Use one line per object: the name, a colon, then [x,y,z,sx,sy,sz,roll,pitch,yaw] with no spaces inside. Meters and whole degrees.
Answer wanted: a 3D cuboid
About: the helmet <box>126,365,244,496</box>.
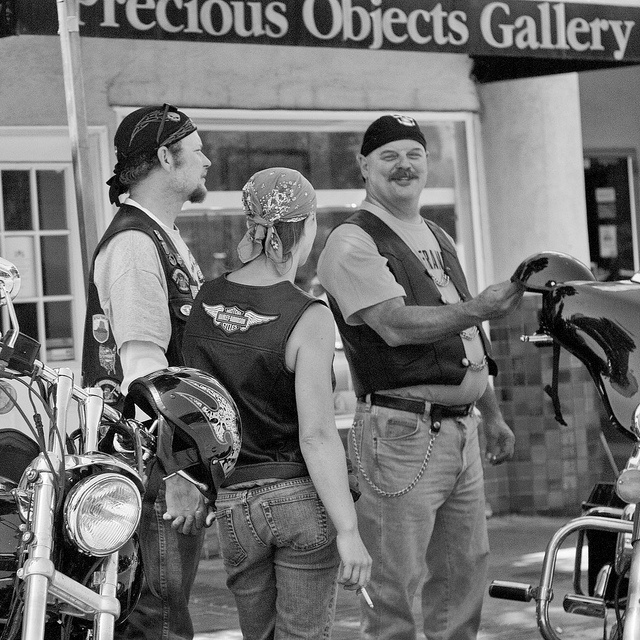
helmet: [-0.375,0.306,4.480,0.354,0.341,0.280,7,6,-32]
